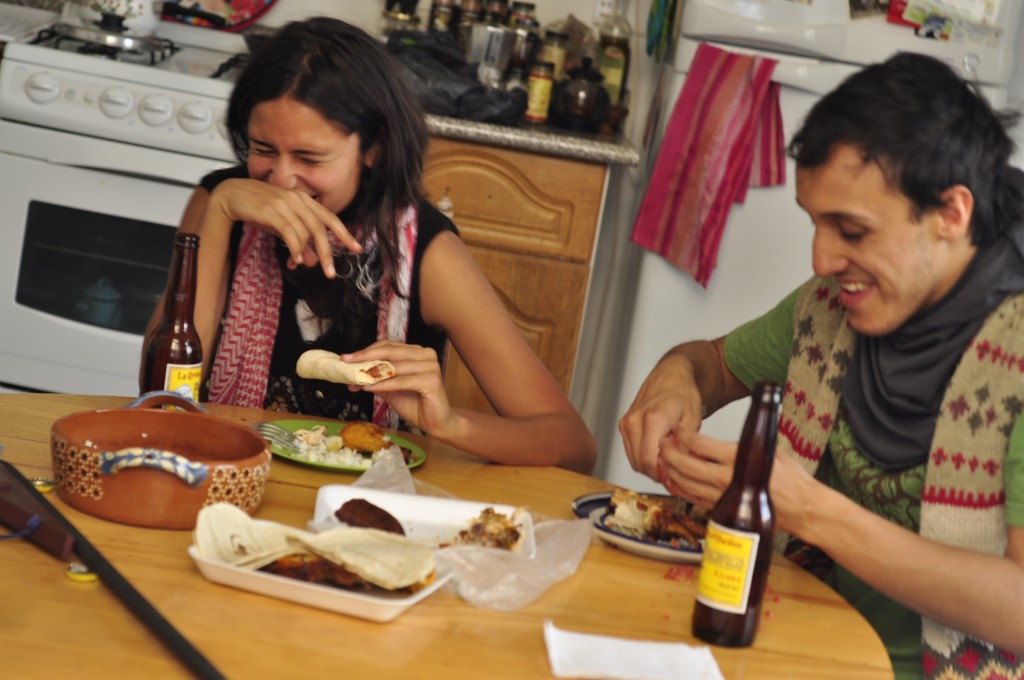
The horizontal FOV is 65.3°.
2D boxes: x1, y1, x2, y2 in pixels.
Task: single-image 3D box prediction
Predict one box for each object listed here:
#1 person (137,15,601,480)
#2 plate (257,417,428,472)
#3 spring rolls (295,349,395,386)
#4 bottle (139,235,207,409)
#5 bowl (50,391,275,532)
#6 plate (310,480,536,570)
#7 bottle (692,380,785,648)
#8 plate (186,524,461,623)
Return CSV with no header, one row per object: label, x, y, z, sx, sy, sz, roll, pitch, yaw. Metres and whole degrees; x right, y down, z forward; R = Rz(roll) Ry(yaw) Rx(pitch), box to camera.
person,-0.323,0.010,1.772,0.636,1.343,0.646,8,4,-24
plate,-0.292,0.167,1.469,0.274,0.096,0.222,1,8,34
spring rolls,-0.315,0.054,1.491,0.219,0.064,0.070,13,8,44
bottle,-0.565,-0.037,1.334,0.090,0.284,0.229,4,6,-25
bowl,-0.520,0.176,1.176,0.283,0.109,0.317,12,6,-21
plate,-0.123,0.262,1.188,0.215,0.034,0.150,11,3,0
bottle,0.295,0.242,1.077,0.108,0.351,0.098,-2,15,-29
plate,-0.248,0.307,1.015,0.326,0.049,0.112,7,6,-3
